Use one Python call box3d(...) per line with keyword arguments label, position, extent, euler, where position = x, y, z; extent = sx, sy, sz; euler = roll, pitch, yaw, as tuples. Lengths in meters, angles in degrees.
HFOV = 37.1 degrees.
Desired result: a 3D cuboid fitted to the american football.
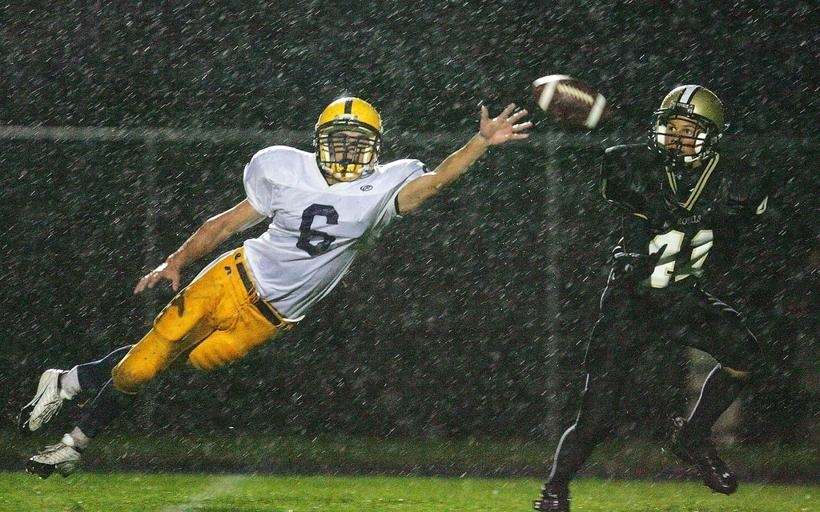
box3d(label="american football", position=(1.097, -1.056, 8.496), extent=(0.542, 0.298, 0.162), euler=(23, -16, 2))
